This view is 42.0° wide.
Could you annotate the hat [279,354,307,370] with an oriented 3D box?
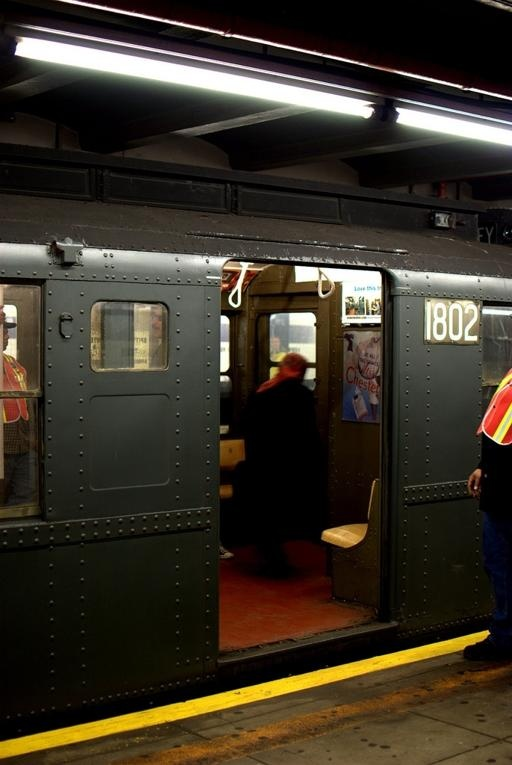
[{"bbox_3d":[0.354,-0.211,6.316,0.185,0.191,0.142,-1,13,-19],"label":"hat"}]
